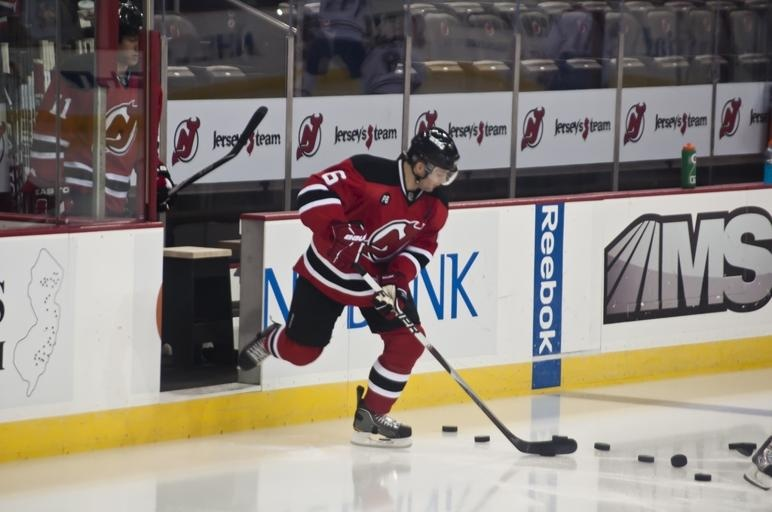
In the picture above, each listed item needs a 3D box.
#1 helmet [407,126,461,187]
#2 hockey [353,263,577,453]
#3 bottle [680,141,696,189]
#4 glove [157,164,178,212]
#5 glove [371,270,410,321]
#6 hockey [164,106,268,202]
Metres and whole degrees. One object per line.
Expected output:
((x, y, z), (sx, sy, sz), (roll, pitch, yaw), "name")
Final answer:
((0.306, -0.620, 8.978), (0.332, 0.326, 0.291), (9, 16, 20), "helmet")
((0.463, 0.695, 9.570), (1.326, 0.164, 0.312), (47, 26, 15), "hockey")
((2.262, -0.663, 10.763), (0.095, 0.317, 0.102), (0, 6, 0), "bottle")
((-1.458, -0.441, 9.508), (0.107, 0.263, 0.182), (-8, 6, 6), "glove")
((0.041, 0.244, 8.909), (0.103, 0.256, 0.256), (-8, -44, 45), "glove")
((-1.230, -0.755, 10.315), (1.105, 0.203, 0.079), (-35, 25, 29), "hockey")
